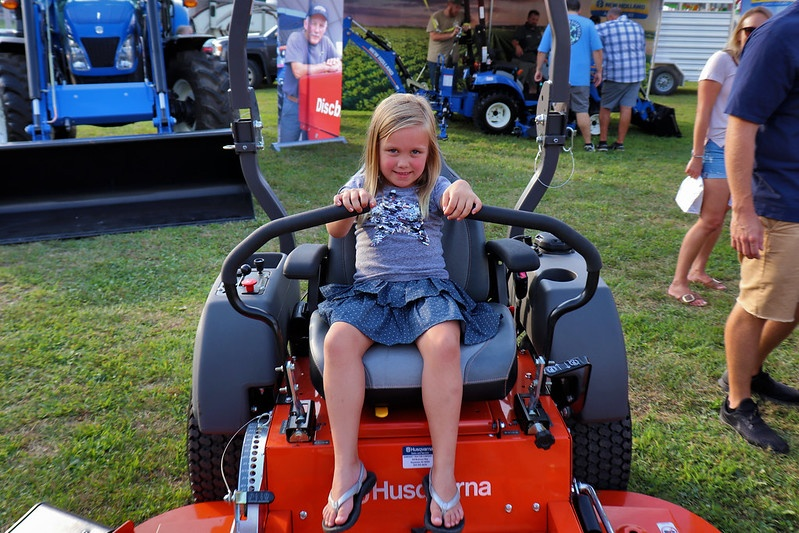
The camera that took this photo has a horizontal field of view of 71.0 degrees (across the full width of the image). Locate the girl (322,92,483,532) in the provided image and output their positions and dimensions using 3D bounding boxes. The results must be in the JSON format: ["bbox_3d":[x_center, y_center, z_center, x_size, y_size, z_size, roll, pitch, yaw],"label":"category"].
[{"bbox_3d":[0.042,0.134,2.442,0.779,1.636,1.060,-2,21,-6],"label":"girl"}]

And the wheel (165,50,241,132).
[{"bbox_3d":[-2.333,-1.827,6.509,0.452,1.319,1.290,-16,30,-37],"label":"wheel"}]

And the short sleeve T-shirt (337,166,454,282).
[{"bbox_3d":[0.010,-0.162,2.655,0.605,0.626,0.380,0,0,-32],"label":"short sleeve T-shirt"}]

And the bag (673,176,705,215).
[{"bbox_3d":[2.087,-0.530,3.976,0.088,0.244,0.235,7,27,-1],"label":"bag"}]

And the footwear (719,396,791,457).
[{"bbox_3d":[1.943,0.856,3.074,0.152,0.184,0.422,-9,14,-7],"label":"footwear"}]

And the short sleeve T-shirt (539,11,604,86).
[{"bbox_3d":[2.375,-3.023,7.764,0.854,0.975,0.351,9,43,25],"label":"short sleeve T-shirt"}]

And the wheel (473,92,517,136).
[{"bbox_3d":[1.507,-2.414,8.762,0.659,0.665,0.213,-2,17,-8],"label":"wheel"}]
